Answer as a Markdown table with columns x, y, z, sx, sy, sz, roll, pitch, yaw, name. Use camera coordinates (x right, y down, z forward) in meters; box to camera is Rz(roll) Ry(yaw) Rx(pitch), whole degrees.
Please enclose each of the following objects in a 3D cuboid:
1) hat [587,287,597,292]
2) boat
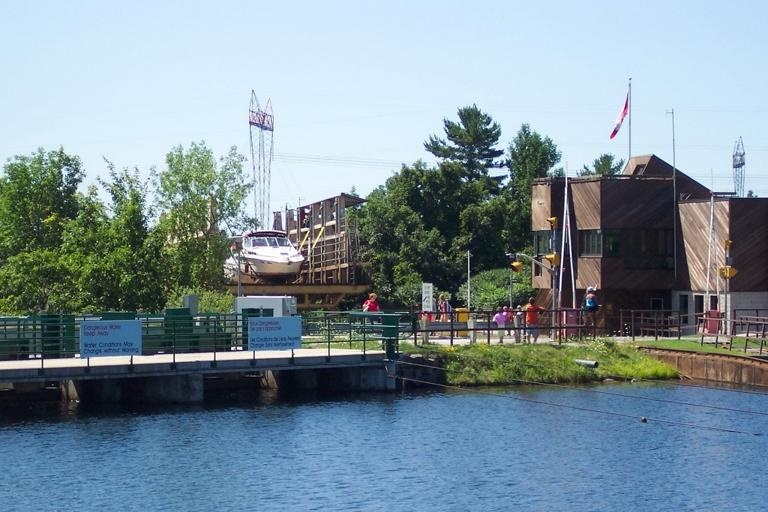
| x | y | z | sx | sy | sz | roll | pitch | yaw | name |
| --- | --- | --- | --- | --- | --- | --- | --- | --- | --- |
| 14.101 | 2.270 | 85.840 | 0.593 | 0.355 | 0.422 | -10 | -1 | 15 | hat |
| -9.313 | -0.077 | 96.759 | 3.140 | 2.993 | 6.838 | -1 | 6 | -20 | boat |
